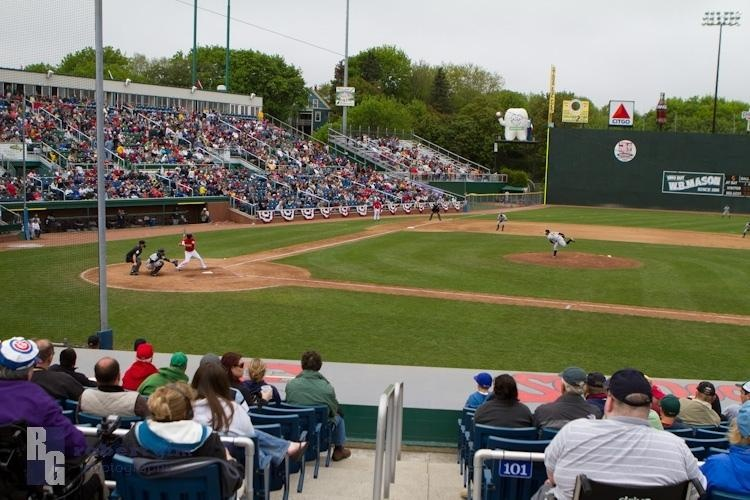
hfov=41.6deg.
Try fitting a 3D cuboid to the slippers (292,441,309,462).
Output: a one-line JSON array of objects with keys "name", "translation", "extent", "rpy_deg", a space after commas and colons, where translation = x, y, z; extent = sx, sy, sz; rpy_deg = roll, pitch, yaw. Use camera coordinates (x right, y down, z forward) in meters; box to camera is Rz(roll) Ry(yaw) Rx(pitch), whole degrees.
[{"name": "slippers", "translation": [-1.715, 4.694, 22.917], "extent": [0.204, 0.204, 0.576], "rpy_deg": [6, 19, 13]}]

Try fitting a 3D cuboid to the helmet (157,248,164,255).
[{"name": "helmet", "translation": [-8.070, 0.094, 37.398], "extent": [0.201, 0.224, 0.236], "rpy_deg": [9, 13, 17]}]

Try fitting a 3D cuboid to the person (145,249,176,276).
[{"name": "person", "translation": [-8.280, 0.376, 37.761], "extent": [0.898, 0.975, 1.160], "rpy_deg": [26, 24, 36]}]

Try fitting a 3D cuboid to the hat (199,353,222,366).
[{"name": "hat", "translation": [-3.788, 2.549, 22.823], "extent": [0.396, 0.272, 0.532], "rpy_deg": [4, 0, -11]}]

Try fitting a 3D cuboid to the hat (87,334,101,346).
[{"name": "hat", "translation": [-7.838, 2.542, 27.508], "extent": [0.281, 0.214, 0.362], "rpy_deg": [6, 23, -9]}]

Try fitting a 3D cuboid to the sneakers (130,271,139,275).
[{"name": "sneakers", "translation": [-9.108, 0.916, 37.380], "extent": [0.274, 0.157, 0.113], "rpy_deg": [1, 4, -3]}]

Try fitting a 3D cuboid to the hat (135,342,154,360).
[{"name": "hat", "translation": [-5.598, 2.457, 24.117], "extent": [0.340, 0.370, 0.454], "rpy_deg": [6, 16, -9]}]

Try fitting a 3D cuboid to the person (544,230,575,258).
[{"name": "person", "translation": [8.621, -0.210, 46.033], "extent": [1.247, 0.410, 1.273], "rpy_deg": [9, -13, -21]}]

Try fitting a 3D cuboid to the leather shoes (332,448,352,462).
[{"name": "leather shoes", "translation": [-0.816, 4.994, 24.008], "extent": [0.582, 0.216, 0.201], "rpy_deg": [-2, 10, -25]}]

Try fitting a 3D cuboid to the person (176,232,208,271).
[{"name": "person", "translation": [-7.550, 0.143, 40.758], "extent": [1.434, 1.725, 0.689], "rpy_deg": [-8, 31, -23]}]

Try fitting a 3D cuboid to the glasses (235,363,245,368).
[{"name": "glasses", "translation": [-3.221, 2.785, 23.644], "extent": [0.121, 0.088, 0.120], "rpy_deg": [4, 8, 13]}]
